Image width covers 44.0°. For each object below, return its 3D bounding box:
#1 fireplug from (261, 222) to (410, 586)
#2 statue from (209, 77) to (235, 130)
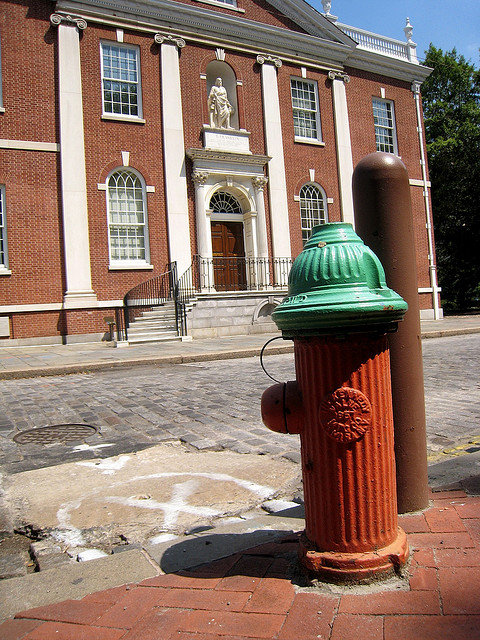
[{"bbox_3d":[0.352,0.282,2.193,0.560,1.185,0.316,-5,1,13],"label":"fireplug"},{"bbox_3d":[-0.632,-7.029,19.240,0.790,1.628,0.316,-6,1,-39],"label":"statue"}]
